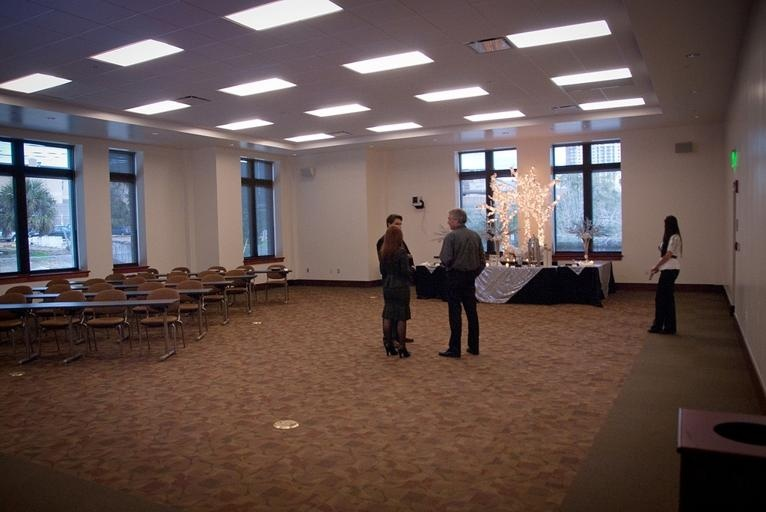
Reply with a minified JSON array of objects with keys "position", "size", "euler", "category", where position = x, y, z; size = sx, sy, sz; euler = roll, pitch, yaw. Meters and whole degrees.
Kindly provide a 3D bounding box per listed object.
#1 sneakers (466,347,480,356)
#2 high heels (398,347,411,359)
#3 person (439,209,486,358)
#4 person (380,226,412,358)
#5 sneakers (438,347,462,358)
[{"position":[1.349,1.438,7.352],"size":[0.074,0.142,0.215],"euler":[-1,6,-16],"category":"sneakers"},{"position":[0.308,1.434,7.215],"size":[0.209,0.261,0.105],"euler":[-2,4,-3],"category":"high heels"},{"position":[1.162,0.402,7.228],"size":[0.673,2.150,0.593],"euler":[-1,6,13],"category":"person"},{"position":[0.185,0.533,7.249],"size":[0.409,1.942,0.596],"euler":[-2,6,0],"category":"person"},{"position":[0.994,1.425,7.231],"size":[0.317,0.136,0.132],"euler":[1,-2,27],"category":"sneakers"}]
